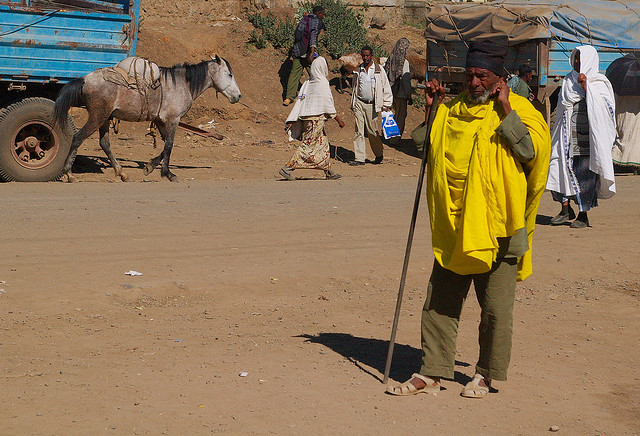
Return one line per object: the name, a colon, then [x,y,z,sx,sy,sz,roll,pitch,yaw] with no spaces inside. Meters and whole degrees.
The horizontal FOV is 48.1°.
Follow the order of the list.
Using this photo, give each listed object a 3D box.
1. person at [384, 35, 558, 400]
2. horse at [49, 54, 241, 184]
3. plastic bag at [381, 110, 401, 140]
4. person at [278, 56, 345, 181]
person: [1.173,0.049,5.398,0.925,2.702,0.621,5,14,12]
horse: [-3.181,-1.916,13.487,0.719,2.335,3.532,14,17,41]
plastic bag: [1.247,-1.773,13.711,0.378,0.514,0.131,-17,1,-25]
person: [-0.217,-1.872,13.697,0.975,2.385,0.642,1,14,-5]
